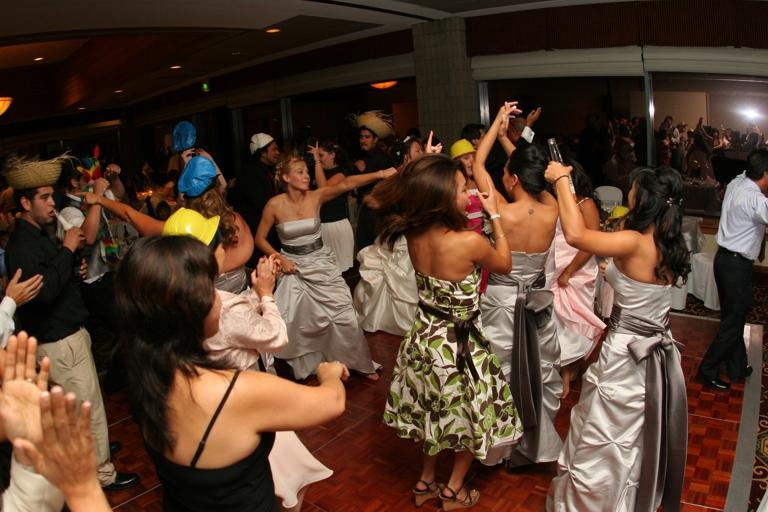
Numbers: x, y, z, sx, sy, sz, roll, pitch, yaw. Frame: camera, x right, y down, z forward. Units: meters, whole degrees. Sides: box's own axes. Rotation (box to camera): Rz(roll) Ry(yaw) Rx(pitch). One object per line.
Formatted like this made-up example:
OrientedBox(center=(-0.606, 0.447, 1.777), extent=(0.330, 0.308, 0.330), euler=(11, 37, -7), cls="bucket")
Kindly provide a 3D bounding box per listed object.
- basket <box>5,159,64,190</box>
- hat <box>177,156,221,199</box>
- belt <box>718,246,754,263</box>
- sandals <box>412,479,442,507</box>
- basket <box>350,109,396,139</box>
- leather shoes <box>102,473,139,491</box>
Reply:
OrientedBox(center=(-2.133, -0.477, 3.048), extent=(0.208, 0.101, 0.231), euler=(-5, 4, -14), cls="basket")
OrientedBox(center=(-1.158, -0.506, 3.202), extent=(0.202, 0.109, 0.279), euler=(16, 53, 24), cls="hat")
OrientedBox(center=(2.943, -0.007, 4.104), extent=(0.173, 0.041, 0.176), euler=(16, 2, 3), cls="belt")
OrientedBox(center=(0.270, 1.485, 3.082), extent=(0.099, 0.091, 0.216), euler=(4, 10, 32), cls="sandals")
OrientedBox(center=(-0.018, -1.541, 5.828), extent=(0.452, 0.206, 0.510), euler=(30, 6, 36), cls="basket")
OrientedBox(center=(-1.801, 1.544, 3.403), extent=(0.218, 0.090, 0.082), euler=(-5, 25, -15), cls="leather shoes")
